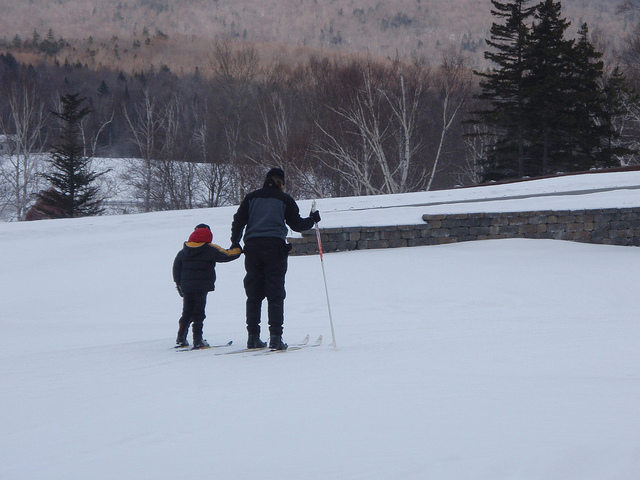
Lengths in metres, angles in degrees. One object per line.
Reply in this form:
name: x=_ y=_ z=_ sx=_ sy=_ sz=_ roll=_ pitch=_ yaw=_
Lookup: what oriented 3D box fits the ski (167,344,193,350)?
ski: x=-4.776 y=3.648 z=34.809 sx=0.534 sy=0.031 sz=0.090 roll=-12 pitch=29 yaw=2
